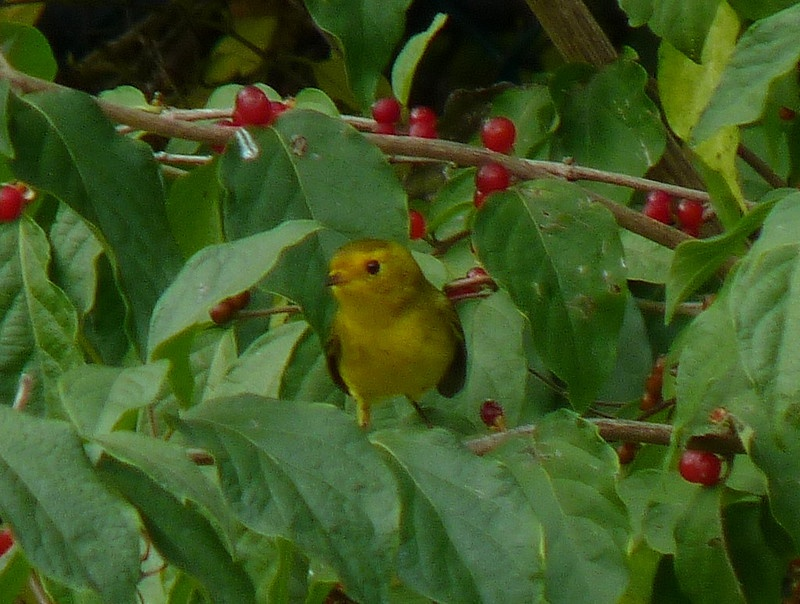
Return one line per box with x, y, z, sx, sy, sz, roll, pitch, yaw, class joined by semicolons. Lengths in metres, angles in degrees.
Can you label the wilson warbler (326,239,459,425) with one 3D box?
0.024;0.027;1.271;0.101;0.141;0.170;-10;-14;12;wilson warbler
